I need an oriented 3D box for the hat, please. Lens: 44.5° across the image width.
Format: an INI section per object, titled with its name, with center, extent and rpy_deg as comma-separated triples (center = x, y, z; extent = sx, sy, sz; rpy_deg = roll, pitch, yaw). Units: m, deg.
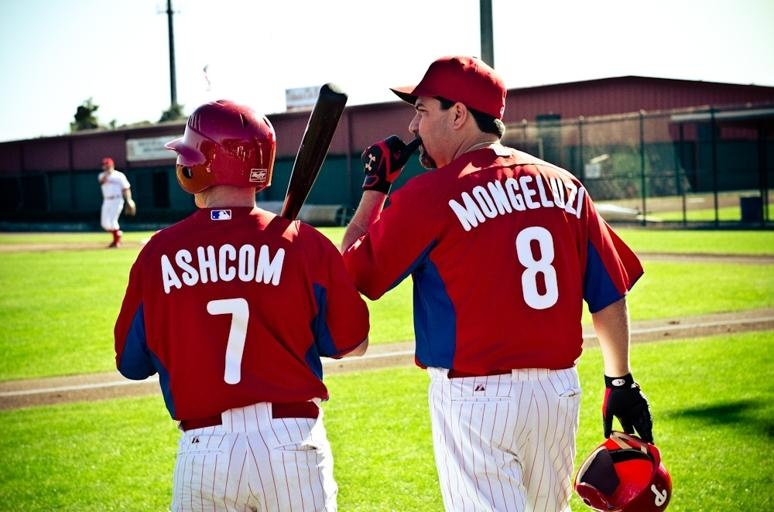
[hat]
center = 0.497, -1.206, 6.539
extent = 0.825, 0.442, 0.560
rpy_deg = 17, 8, 14
